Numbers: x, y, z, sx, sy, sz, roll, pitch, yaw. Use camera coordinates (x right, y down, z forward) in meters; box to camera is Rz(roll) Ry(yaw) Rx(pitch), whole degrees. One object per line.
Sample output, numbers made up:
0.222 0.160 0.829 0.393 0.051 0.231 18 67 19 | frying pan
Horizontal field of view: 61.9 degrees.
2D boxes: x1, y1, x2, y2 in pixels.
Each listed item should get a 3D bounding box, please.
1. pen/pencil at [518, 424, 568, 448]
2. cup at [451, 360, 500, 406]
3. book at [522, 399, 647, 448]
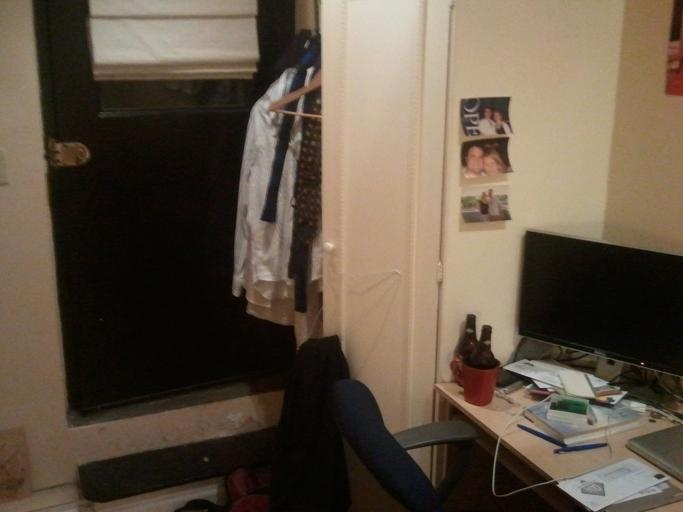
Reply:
0.714 0.632 2.001 0.156 0.021 0.021 20 -2 29 | pen/pencil
0.512 0.481 2.230 0.212 0.150 0.143 10 11 43 | cup
0.897 0.592 2.122 0.347 0.047 0.253 -6 9 -15 | book
